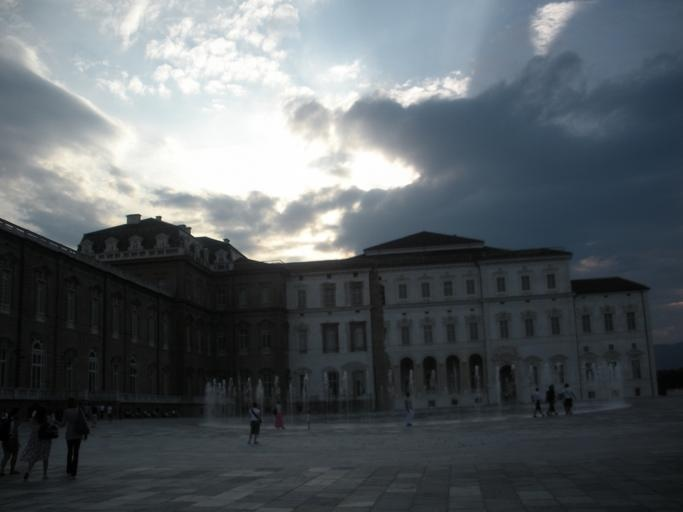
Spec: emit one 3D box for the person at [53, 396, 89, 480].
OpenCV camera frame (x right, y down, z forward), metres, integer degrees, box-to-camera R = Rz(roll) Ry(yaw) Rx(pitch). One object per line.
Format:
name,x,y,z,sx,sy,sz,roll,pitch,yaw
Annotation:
person,-6.904,4.658,15.446,0.622,1.978,0.944,3,-16,-22
